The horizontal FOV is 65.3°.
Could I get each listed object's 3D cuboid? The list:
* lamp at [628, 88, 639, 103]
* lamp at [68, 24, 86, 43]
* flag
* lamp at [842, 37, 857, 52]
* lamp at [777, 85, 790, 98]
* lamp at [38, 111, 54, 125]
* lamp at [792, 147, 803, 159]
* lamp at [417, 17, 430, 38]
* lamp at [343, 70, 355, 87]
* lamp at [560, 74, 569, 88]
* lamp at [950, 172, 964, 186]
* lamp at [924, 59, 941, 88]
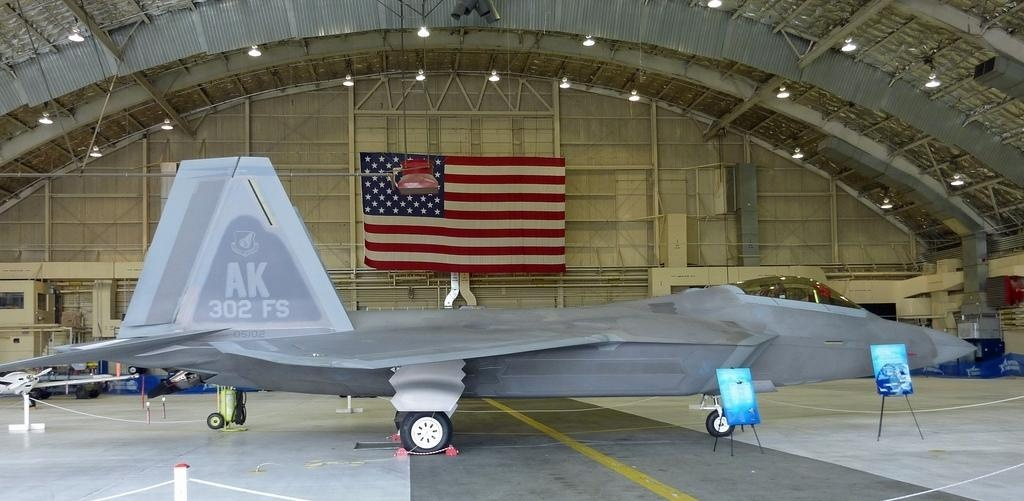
[{"bbox_3d":[7.743,-9.862,50.453,0.955,0.604,0.774,0,-11,3],"label":"lamp"},{"bbox_3d":[-22.259,-11.031,40.755,0.777,0.960,1.571,2,-12,-28],"label":"lamp"},{"bbox_3d":[-2.881,-2.202,47.634,11.185,4.616,0.473,0,3,-6],"label":"flag"},{"bbox_3d":[17.382,-10.695,41.283,0.911,0.584,0.252,6,-1,-6],"label":"lamp"},{"bbox_3d":[15.613,-9.067,45.417,0.839,0.619,0.718,-3,-14,4],"label":"lamp"},{"bbox_3d":[-25.988,-7.419,44.461,0.731,0.272,0.899,0,-1,-33],"label":"lamp"},{"bbox_3d":[18.243,-6.304,50.866,1.014,0.656,0.307,-2,4,10],"label":"lamp"},{"bbox_3d":[-4.689,-11.807,42.311,0.496,1.008,1.140,-3,-11,-8],"label":"lamp"},{"bbox_3d":[-10.210,-10.714,50.035,0.977,0.718,0.851,1,-10,-4],"label":"lamp"},{"bbox_3d":[3.338,-10.803,51.171,0.687,0.573,0.572,-8,-12,20],"label":"lamp"},{"bbox_3d":[25.812,-4.084,46.073,0.907,0.646,0.173,-16,13,-13],"label":"lamp"},{"bbox_3d":[21.664,-9.190,41.302,0.723,1.272,1.652,-12,-13,29],"label":"lamp"}]
